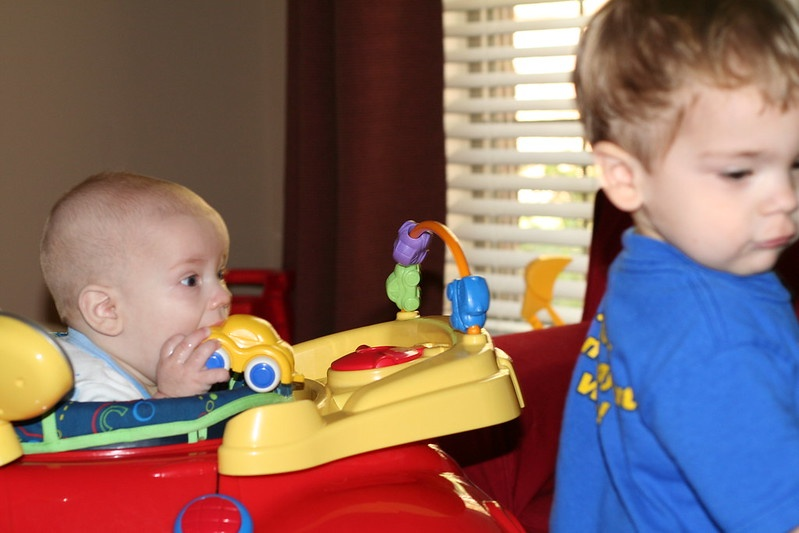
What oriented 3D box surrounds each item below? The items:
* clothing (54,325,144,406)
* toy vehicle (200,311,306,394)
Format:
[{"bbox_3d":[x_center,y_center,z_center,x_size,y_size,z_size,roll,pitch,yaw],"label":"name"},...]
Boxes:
[{"bbox_3d":[-0.501,0.171,1.321,0.150,0.056,0.105,21,9,-36],"label":"clothing"},{"bbox_3d":[-0.233,0.133,1.251,0.150,0.080,0.093,13,8,9],"label":"toy vehicle"}]
